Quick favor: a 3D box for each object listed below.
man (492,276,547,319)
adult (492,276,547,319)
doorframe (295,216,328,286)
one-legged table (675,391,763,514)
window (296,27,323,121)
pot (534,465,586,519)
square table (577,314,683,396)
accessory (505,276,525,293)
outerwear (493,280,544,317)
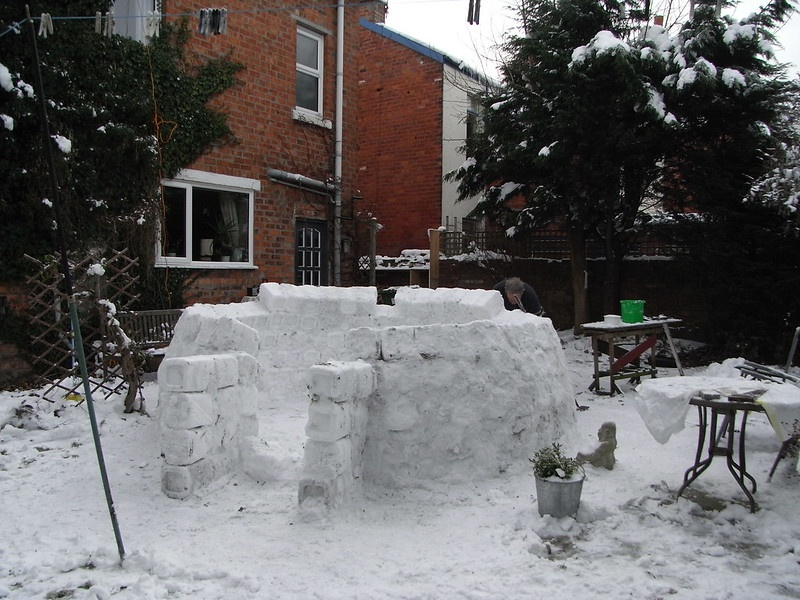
[{"bbox_3d":[1.768,-0.021,9.945,0.493,0.498,1.396,9,-8,24],"label":"man"},{"bbox_3d":[1.768,-0.021,9.945,0.493,0.498,1.396,9,-8,24],"label":"adult"},{"bbox_3d":[-1.809,-0.865,13.448,0.749,1.513,0.087,7,31,3],"label":"doorframe"},{"bbox_3d":[3.204,1.494,6.822,0.752,0.939,0.763,5,-3,18],"label":"one-legged table"},{"bbox_3d":[-1.882,-4.530,13.471,0.133,1.621,0.821,3,2,41],"label":"window"},{"bbox_3d":[1.566,1.888,6.682,0.455,0.421,0.505,-4,9,-7],"label":"pot"},{"bbox_3d":[3.333,0.849,10.064,1.429,1.006,0.539,-4,5,-29],"label":"square table"},{"bbox_3d":[1.614,-0.170,9.609,0.183,0.234,0.235,-4,-31,9],"label":"accessory"},{"bbox_3d":[1.710,-0.056,9.789,0.599,0.459,0.790,1,-1,5],"label":"outerwear"}]
